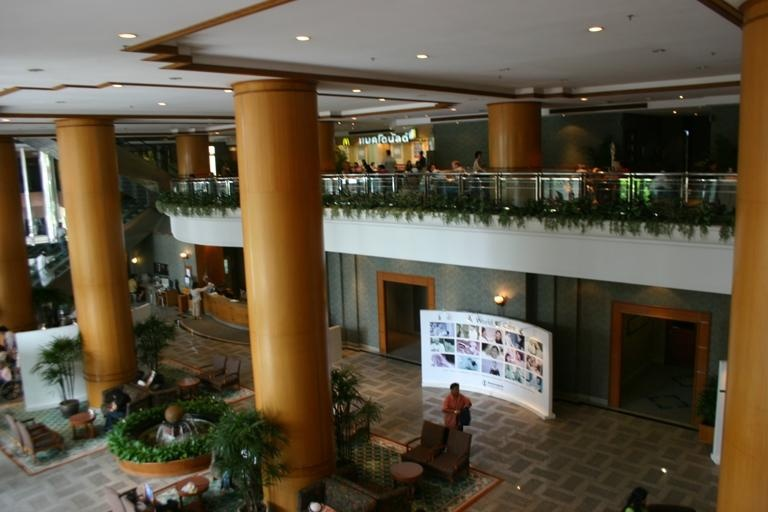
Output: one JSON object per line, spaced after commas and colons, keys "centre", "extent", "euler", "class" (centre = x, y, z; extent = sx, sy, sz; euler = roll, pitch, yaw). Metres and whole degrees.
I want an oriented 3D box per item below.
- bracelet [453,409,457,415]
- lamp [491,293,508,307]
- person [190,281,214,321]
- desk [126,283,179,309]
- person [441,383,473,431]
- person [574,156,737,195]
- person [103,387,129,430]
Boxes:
{"centre": [1.637, 3.544, 12.424], "extent": [0.080, 0.071, 0.058], "euler": [5, 23, -3], "class": "bracelet"}
{"centre": [3.359, 1.258, 15.723], "extent": [0.465, 0.379, 0.238], "euler": [5, 14, 29], "class": "lamp"}
{"centre": [-8.108, 2.045, 24.363], "extent": [1.345, 1.625, 0.542], "euler": [8, 26, 19], "class": "person"}
{"centre": [-11.312, 1.954, 26.936], "extent": [2.792, 0.770, 1.292], "euler": [6, 15, 31], "class": "desk"}
{"centre": [1.703, 3.668, 12.589], "extent": [0.639, 1.382, 0.488], "euler": [0, 14, 11], "class": "person"}
{"centre": [6.623, -2.027, 13.530], "extent": [2.818, 0.552, 0.485], "euler": [13, 32, 31], "class": "person"}
{"centre": [-6.966, 3.979, 14.243], "extent": [0.639, 1.001, 0.421], "euler": [3, 8, -34], "class": "person"}
